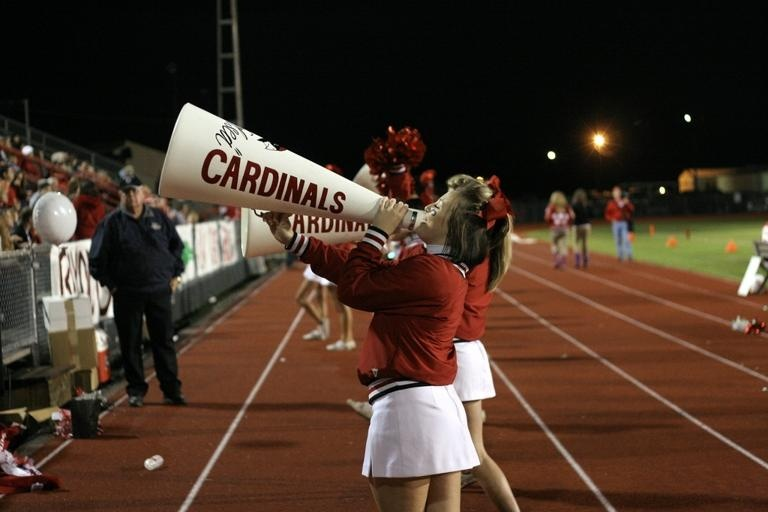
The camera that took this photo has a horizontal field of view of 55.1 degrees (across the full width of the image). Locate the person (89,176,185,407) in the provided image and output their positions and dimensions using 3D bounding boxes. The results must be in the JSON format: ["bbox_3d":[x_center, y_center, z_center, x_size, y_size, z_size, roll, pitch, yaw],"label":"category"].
[{"bbox_3d":[-2.740,0.373,8.240,1.002,2.446,0.923,-5,12,-16],"label":"person"}]

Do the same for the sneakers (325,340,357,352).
[{"bbox_3d":[-0.620,1.288,10.666,0.446,0.203,0.164,1,-5,-1],"label":"sneakers"}]

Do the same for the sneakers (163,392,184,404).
[{"bbox_3d":[-2.301,1.578,8.132,0.268,0.121,0.095,-3,-10,20],"label":"sneakers"}]

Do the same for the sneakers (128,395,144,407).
[{"bbox_3d":[-2.751,1.593,8.116,0.095,0.057,0.147,4,-2,0],"label":"sneakers"}]
